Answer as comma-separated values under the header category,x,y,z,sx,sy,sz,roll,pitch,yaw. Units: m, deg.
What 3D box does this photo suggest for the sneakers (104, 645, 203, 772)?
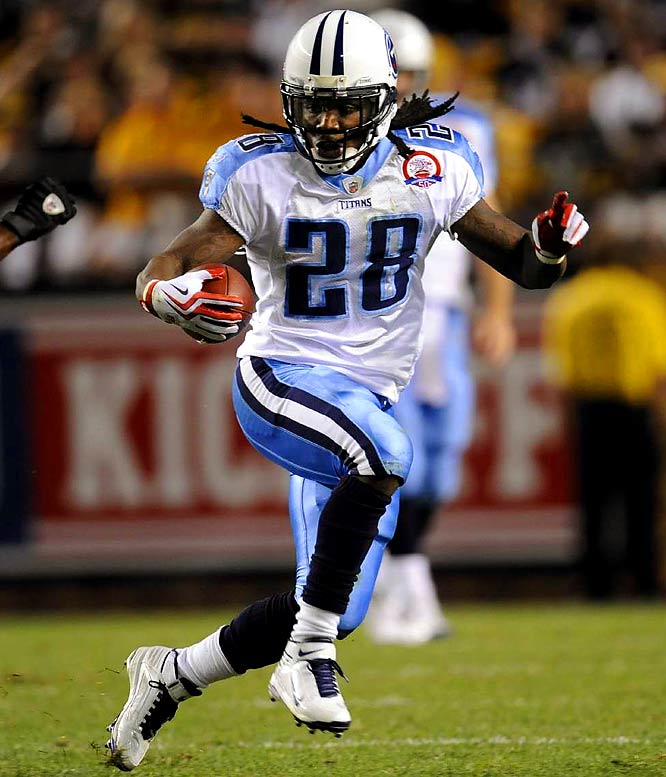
category,x,y,z,sx,sy,sz,roll,pitch,yaw
sneakers,-0.340,0.599,2.090,0.179,0.101,0.281,-3,44,15

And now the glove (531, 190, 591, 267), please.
category,x,y,z,sx,sy,sz,roll,pitch,yaw
glove,0.434,-0.304,2.053,0.135,0.122,0.070,8,1,16

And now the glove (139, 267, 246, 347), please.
category,x,y,z,sx,sy,sz,roll,pitch,yaw
glove,-0.234,-0.144,1.902,0.196,0.142,0.133,-4,18,-12

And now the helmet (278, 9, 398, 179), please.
category,x,y,z,sx,sy,sz,roll,pitch,yaw
helmet,0.013,-0.552,2.032,0.304,0.309,0.341,1,19,9

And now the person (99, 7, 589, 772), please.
category,x,y,z,sx,sy,sz,roll,pitch,yaw
person,0.030,-0.018,2.045,0.785,1.361,0.881,4,20,12
